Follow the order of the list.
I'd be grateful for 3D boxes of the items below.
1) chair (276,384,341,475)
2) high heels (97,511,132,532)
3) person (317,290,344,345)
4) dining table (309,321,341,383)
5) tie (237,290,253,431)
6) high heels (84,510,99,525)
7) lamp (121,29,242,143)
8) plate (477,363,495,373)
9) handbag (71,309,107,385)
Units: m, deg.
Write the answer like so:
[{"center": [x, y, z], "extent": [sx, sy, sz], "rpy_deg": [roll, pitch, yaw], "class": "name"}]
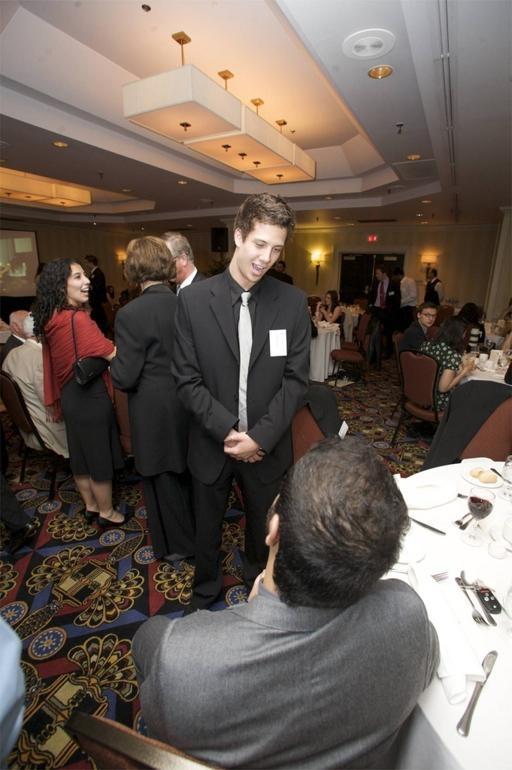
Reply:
[{"center": [0.224, 0.159, 1.786], "extent": [0.202, 0.327, 0.132], "rpy_deg": [6, -6, 9], "class": "chair"}, {"center": [-0.764, 0.739, 2.567], "extent": [0.070, 0.081, 0.200], "rpy_deg": [11, 17, 38], "class": "high heels"}, {"center": [1.161, -0.975, 7.404], "extent": [0.477, 0.986, 0.401], "rpy_deg": [-3, 18, -7], "class": "person"}, {"center": [0.908, -0.392, 6.088], "extent": [0.339, 0.669, 0.932], "rpy_deg": [4, 14, 11], "class": "dining table"}, {"center": [-0.038, -0.068, 1.630], "extent": [0.050, 0.502, 0.072], "rpy_deg": [0, 14, -3], "class": "tie"}, {"center": [-0.909, 0.720, 2.565], "extent": [0.055, 0.045, 0.106], "rpy_deg": [1, 5, -4], "class": "high heels"}, {"center": [-0.553, -2.034, 3.450], "extent": [0.671, 0.230, 0.900], "rpy_deg": [7, 15, 20], "class": "lamp"}, {"center": [1.824, -0.141, 3.680], "extent": [0.102, 0.041, 0.102], "rpy_deg": [-5, 36, 3], "class": "plate"}, {"center": [-0.785, -0.154, 2.192], "extent": [0.168, 0.346, 0.157], "rpy_deg": [-5, 15, -24], "class": "handbag"}]
